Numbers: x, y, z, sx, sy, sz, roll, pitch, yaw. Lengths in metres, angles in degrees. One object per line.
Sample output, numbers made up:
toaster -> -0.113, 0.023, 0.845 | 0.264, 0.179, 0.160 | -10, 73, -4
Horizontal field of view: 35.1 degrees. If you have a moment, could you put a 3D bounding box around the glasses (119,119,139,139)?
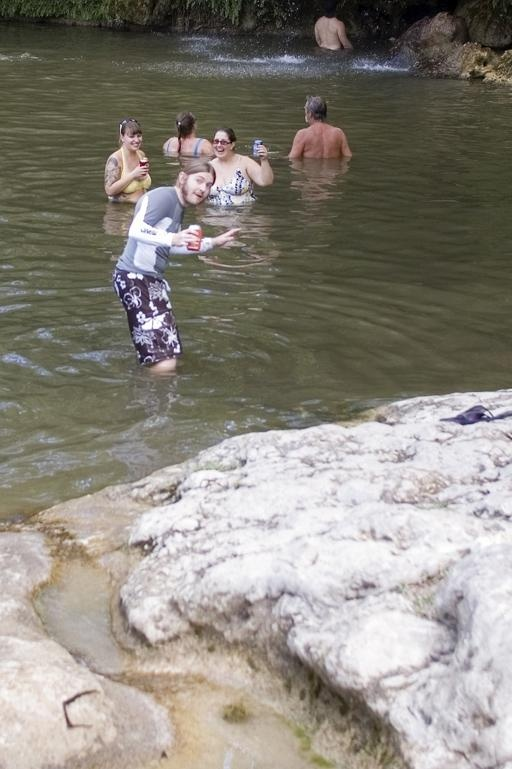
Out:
glasses -> -1.393, -2.817, 8.923 | 0.181, 0.180, 0.241 | -9, 20, -19

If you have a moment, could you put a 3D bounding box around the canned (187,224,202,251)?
canned -> -0.369, -0.858, 4.802 | 0.089, 0.179, 0.277 | -3, 19, -4

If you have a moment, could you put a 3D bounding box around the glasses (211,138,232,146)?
glasses -> -0.379, -2.718, 9.068 | 0.185, 0.084, 0.121 | -2, 19, -2

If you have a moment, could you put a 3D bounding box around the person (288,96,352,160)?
person -> 0.911, -3.548, 11.294 | 0.898, 0.862, 0.447 | -13, 23, -29

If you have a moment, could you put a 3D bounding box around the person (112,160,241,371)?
person -> -0.548, -0.674, 5.149 | 0.549, 1.468, 0.892 | -13, 23, -27
